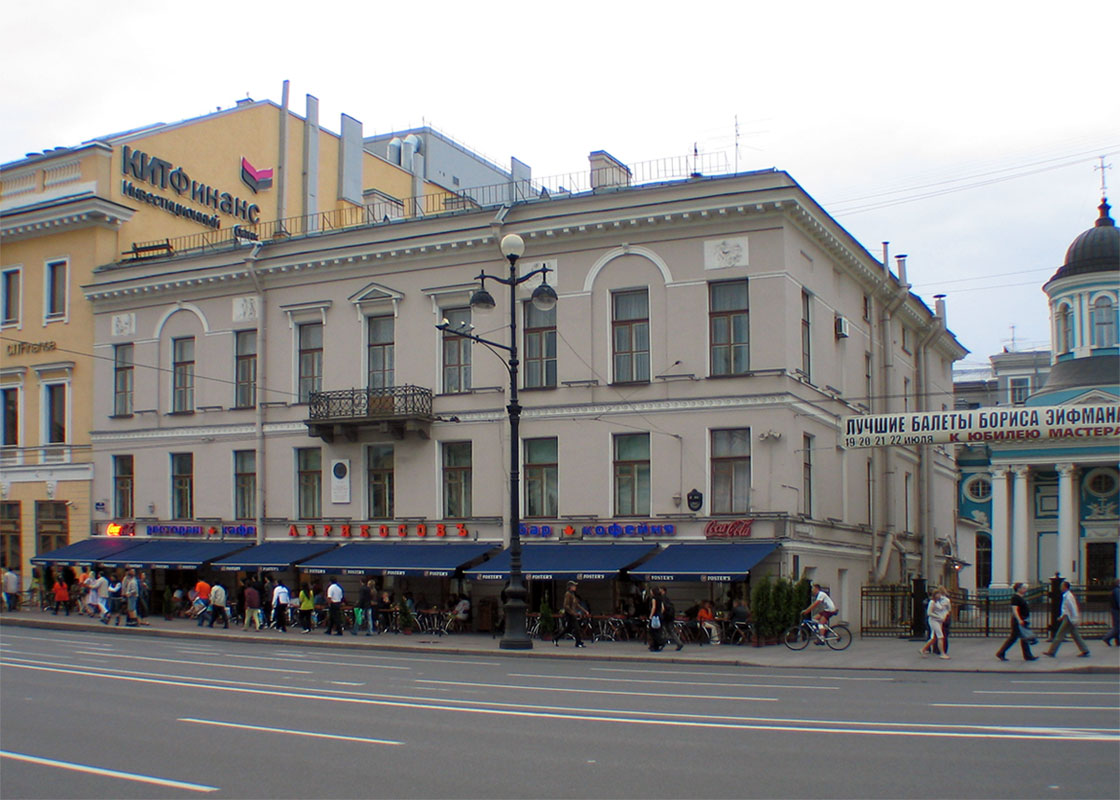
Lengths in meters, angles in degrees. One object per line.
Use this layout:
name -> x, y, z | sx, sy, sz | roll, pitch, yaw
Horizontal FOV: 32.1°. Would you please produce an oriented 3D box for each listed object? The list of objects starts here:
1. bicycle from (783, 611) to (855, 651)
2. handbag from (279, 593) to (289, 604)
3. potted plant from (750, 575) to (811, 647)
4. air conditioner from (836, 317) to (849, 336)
bicycle -> 8.709, 7.834, 66.096 | 1.971, 1.282, 1.016 | 0, -10, -1
handbag -> -10.129, 7.276, 72.067 | 0.204, 0.356, 0.635 | -3, -9, 14
potted plant -> 7.641, 7.213, 68.129 | 2.478, 3.133, 1.924 | 7, -10, -36
air conditioner -> 10.621, -2.688, 73.433 | 0.338, 0.623, 0.689 | -2, -7, 24
